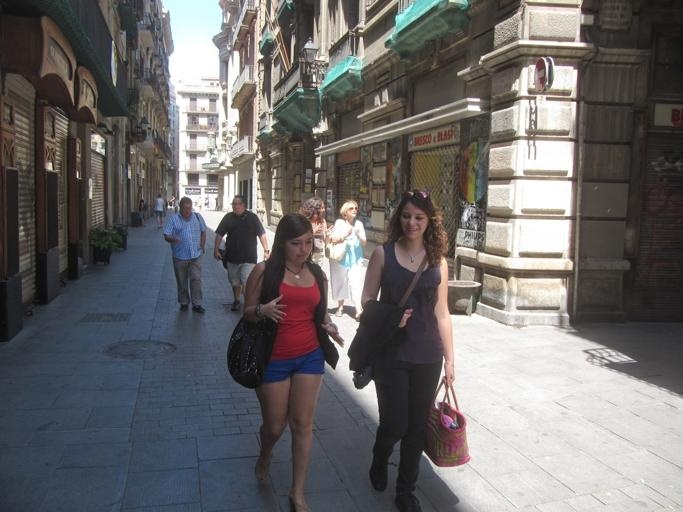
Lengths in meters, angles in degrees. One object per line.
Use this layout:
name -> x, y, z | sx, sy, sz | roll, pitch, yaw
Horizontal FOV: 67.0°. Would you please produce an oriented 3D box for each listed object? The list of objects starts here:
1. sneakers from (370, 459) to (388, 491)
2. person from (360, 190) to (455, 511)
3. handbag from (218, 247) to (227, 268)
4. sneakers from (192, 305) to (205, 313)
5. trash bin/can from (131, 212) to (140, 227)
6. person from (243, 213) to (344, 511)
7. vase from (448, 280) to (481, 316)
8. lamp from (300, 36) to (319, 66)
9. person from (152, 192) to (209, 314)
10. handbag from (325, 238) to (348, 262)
sneakers -> 0.275, 1.655, 3.884 | 0.085, 0.190, 0.257 | 2, 9, -12
person -> 0.471, 0.672, 3.668 | 0.657, 2.237, 0.463 | 2, 6, 12
handbag -> -2.127, 0.053, 9.225 | 0.103, 0.333, 0.227 | -12, -5, -8
sneakers -> -2.590, 0.984, 9.313 | 0.102, 0.144, 0.285 | 2, -1, -37
trash bin/can -> -12.792, -2.227, 31.980 | 0.657, 1.114, 0.700 | 0, -3, -28
person -> -0.350, 0.741, 3.622 | 0.673, 2.053, 0.589 | 0, 6, -9
vase -> 2.175, 0.755, 9.188 | 0.571, 0.500, 0.603 | 0, 4, -5
lamp -> -1.233, -7.853, 19.842 | 0.720, 1.168, 1.747 | 1, 7, -3
person -> -2.848, -0.006, 9.425 | 0.690, 2.113, 0.943 | -1, 6, -15
handbag -> -0.121, -0.099, 8.913 | 0.373, 0.562, 0.272 | 1, 8, -3
